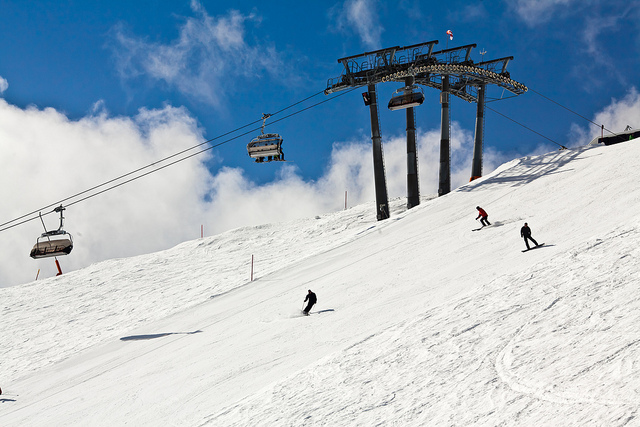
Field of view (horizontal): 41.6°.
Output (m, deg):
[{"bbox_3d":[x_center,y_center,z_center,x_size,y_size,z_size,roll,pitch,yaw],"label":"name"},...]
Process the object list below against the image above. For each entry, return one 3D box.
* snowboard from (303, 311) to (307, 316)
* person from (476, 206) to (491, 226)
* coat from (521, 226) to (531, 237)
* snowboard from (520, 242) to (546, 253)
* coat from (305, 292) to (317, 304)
[{"bbox_3d":[-0.844,5.659,47.704,0.276,0.254,0.065,-7,-5,27],"label":"snowboard"},{"bbox_3d":[10.135,0.096,52.411,0.851,1.370,1.212,-4,21,11],"label":"person"},{"bbox_3d":[11.575,1.070,47.565,0.725,0.738,0.436,-1,-11,8],"label":"coat"},{"bbox_3d":[11.996,1.959,47.610,1.666,0.482,0.291,-15,-13,25],"label":"snowboard"},{"bbox_3d":[-0.433,4.762,47.473,0.459,0.611,0.197,-6,-3,19],"label":"coat"}]
